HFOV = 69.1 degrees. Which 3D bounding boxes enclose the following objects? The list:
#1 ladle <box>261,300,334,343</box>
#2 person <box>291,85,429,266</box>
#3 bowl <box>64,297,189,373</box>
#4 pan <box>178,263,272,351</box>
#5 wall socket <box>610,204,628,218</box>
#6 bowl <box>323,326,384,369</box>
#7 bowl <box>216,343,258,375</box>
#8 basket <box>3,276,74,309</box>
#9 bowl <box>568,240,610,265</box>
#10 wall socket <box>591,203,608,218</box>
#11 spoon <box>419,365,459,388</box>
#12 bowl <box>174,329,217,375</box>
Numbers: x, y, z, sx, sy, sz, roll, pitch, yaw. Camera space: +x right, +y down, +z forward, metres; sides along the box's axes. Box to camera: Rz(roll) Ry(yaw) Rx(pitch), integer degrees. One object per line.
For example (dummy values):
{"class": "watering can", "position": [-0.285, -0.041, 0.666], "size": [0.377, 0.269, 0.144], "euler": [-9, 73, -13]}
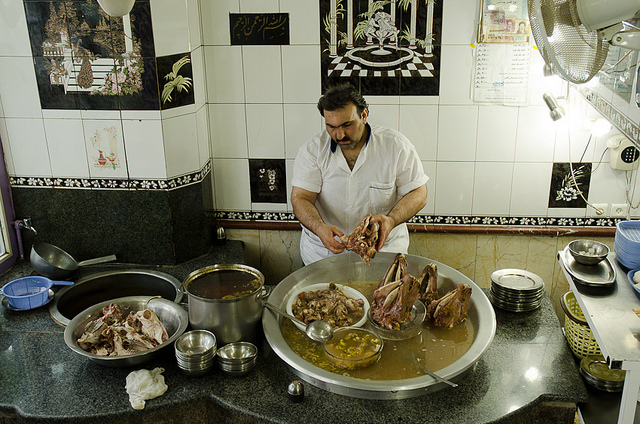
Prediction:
{"class": "ladle", "position": [-0.167, 0.723, 3.130], "size": [0.558, 0.080, 0.137], "euler": [28, 25, 12]}
{"class": "person", "position": [0.334, -0.362, 3.808], "size": [1.152, 1.284, 0.822], "euler": [-4, 20, -4]}
{"class": "bowl", "position": [-1.347, 0.845, 3.294], "size": [0.804, 0.282, 0.639], "euler": [-8, 20, -14]}
{"class": "pan", "position": [-0.655, 0.675, 3.304], "size": [0.597, 0.489, 0.455], "euler": [3, 20, 16]}
{"class": "wall socket", "position": [2.999, -0.004, 4.642], "size": [0.156, 0.137, 0.021], "euler": [-2, 20, 3]}
{"class": "bowl", "position": [0.255, 0.849, 3.033], "size": [0.268, 0.102, 0.272], "euler": [-8, 21, 3]}
{"class": "bowl", "position": [-0.549, 0.965, 3.126], "size": [0.177, 0.114, 0.202], "euler": [-1, 8, -1]}
{"class": "basket", "position": [-2.289, 0.627, 3.785], "size": [0.491, 0.177, 0.283], "euler": [-18, 25, -37]}
{"class": "bowl", "position": [1.996, 0.303, 3.426], "size": [0.276, 0.114, 0.218], "euler": [7, 22, 25]}
{"class": "wall socket", "position": [2.820, -0.018, 4.654], "size": [0.121, 0.120, 0.064], "euler": [1, 14, 8]}
{"class": "spoon", "position": [0.730, 1.004, 2.847], "size": [0.255, 0.030, 0.036], "euler": [32, 39, 34]}
{"class": "bowl", "position": [-0.823, 0.912, 3.076], "size": [0.244, 0.177, 0.276], "euler": [2, 21, 0]}
